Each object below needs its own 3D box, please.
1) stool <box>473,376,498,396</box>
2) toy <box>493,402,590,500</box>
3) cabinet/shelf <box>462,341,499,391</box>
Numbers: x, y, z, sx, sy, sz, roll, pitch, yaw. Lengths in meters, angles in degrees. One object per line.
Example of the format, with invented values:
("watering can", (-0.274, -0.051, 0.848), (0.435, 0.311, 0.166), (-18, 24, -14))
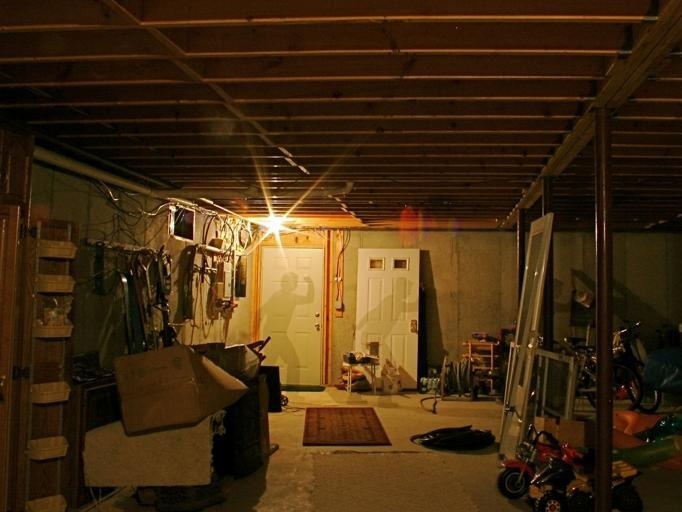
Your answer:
("stool", (2.296, 2.066, 9.418), (0.328, 0.357, 0.568), (1, 1, 18))
("toy", (1.945, 1.914, 5.524), (0.992, 0.686, 0.540), (0, 2, -11))
("cabinet/shelf", (2.374, 1.781, 9.746), (0.690, 1.134, 0.733), (0, -7, 8))
